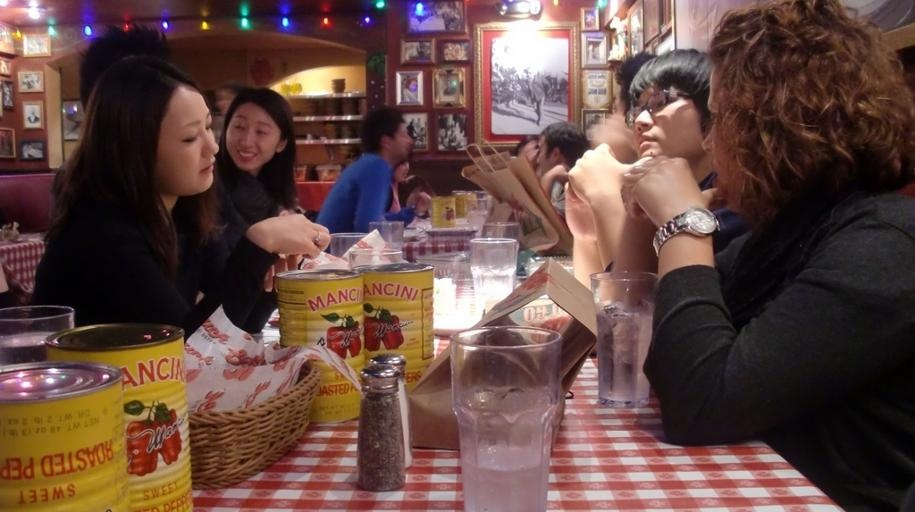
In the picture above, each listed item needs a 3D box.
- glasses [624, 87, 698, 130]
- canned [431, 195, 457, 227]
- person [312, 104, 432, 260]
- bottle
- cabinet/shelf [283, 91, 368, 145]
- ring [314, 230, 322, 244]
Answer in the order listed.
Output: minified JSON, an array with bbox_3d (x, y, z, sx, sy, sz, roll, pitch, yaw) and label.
[{"bbox_3d":[0.829,-0.585,2.562,0.141,0.039,0.137,21,-32,-31],"label":"glasses"},{"bbox_3d":[-0.088,-0.289,4.310,0.204,0.202,0.204,6,8,38],"label":"canned"},{"bbox_3d":[-0.636,-0.497,4.881,0.932,1.191,0.625,5,2,0],"label":"person"},{"bbox_3d":[-0.151,0.329,1.327,0.110,0.251,0.127,-1,14,-6],"label":"bottle"},{"bbox_3d":[-1.544,-1.814,8.861,1.624,0.657,0.531,12,13,42],"label":"cabinet/shelf"},{"bbox_3d":[-0.412,-0.055,1.935,0.016,0.031,0.024,-3,-10,-11],"label":"ring"}]
